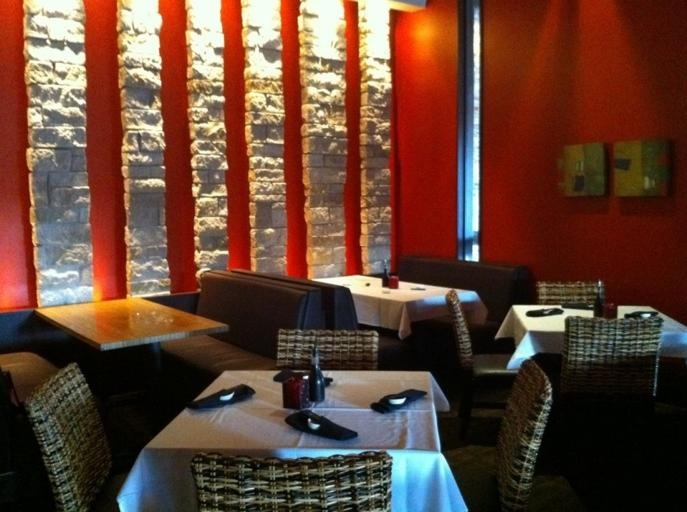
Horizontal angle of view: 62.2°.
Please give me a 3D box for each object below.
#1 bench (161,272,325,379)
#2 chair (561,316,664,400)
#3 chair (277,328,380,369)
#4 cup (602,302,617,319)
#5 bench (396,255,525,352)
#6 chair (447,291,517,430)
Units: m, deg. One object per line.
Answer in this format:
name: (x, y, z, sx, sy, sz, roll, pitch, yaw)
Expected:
bench: (-0.956, 0.681, 4.714, 0.872, 0.901, 1.741, -7, 8, -40)
chair: (1.671, 0.572, 3.580, 0.515, 0.513, 0.537, 3, 1, 20)
chair: (-0.092, 0.564, 3.411, 0.579, 0.222, 0.187, 0, 3, 7)
cup: (1.812, 0.376, 3.834, 0.092, 0.106, 0.093, -1, -1, 0)
bench: (1.462, 0.401, 6.181, 0.462, 0.718, 1.446, 17, 0, -20)
chair: (1.091, 0.784, 4.219, 0.623, 1.048, 0.541, -1, 3, 7)
